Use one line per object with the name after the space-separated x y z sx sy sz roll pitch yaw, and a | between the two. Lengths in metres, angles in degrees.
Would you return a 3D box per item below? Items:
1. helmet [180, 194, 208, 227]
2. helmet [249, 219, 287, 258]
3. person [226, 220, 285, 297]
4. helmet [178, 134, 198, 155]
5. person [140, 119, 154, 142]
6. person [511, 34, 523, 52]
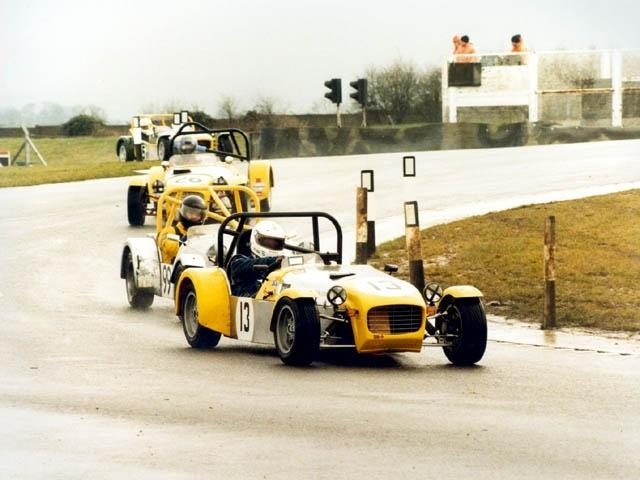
-2.113 -0.508 17.329 0.375 0.562 0.475 5 -3 -30 | helmet
-0.751 -0.037 15.005 0.369 0.456 0.479 3 0 -29 | helmet
-0.932 0.261 14.906 0.930 0.989 0.775 6 12 29 | person
-3.461 -2.484 27.152 0.341 0.354 0.674 1 6 -16 | helmet
-6.168 -4.047 37.936 0.532 0.900 0.822 0 2 -16 | person
6.729 -6.656 35.235 0.407 0.559 0.752 1 11 9 | person
